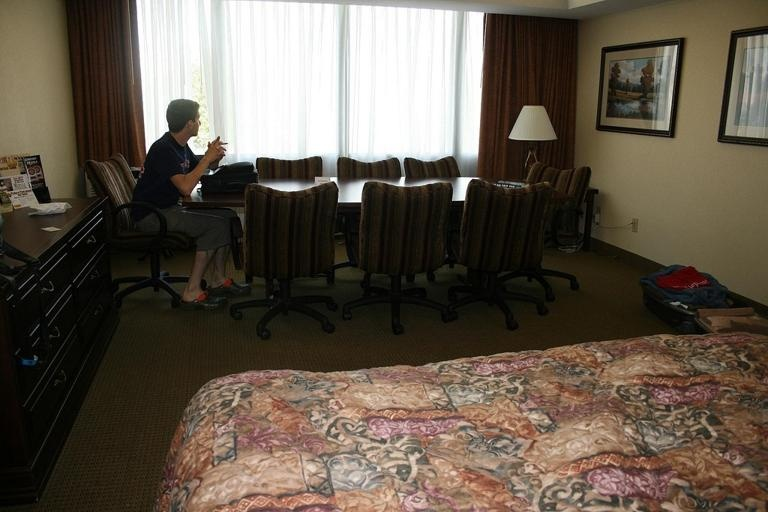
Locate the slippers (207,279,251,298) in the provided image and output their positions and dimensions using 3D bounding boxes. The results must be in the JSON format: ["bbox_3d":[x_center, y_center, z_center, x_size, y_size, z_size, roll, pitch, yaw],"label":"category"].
[{"bbox_3d":[-1.322,0.284,4.317,0.312,0.139,0.160,-2,8,-9],"label":"slippers"}]

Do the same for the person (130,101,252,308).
[{"bbox_3d":[-1.590,-0.409,4.055,0.716,1.643,0.738,-16,24,-36],"label":"person"}]

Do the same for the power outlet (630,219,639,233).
[{"bbox_3d":[2.695,-0.337,5.461,0.019,0.136,0.120,-4,17,-19],"label":"power outlet"}]
